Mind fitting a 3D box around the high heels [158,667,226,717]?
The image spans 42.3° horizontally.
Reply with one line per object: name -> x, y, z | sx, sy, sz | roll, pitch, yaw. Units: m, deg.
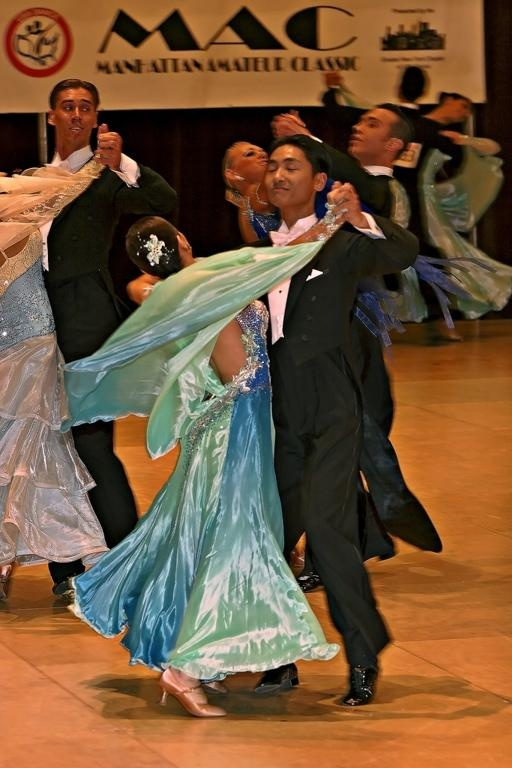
high heels -> -0.150, 0.731, 1.571 | 0.149, 0.124, 0.080 | -2, -8, 4

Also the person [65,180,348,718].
person -> -0.156, 0.179, 1.740 | 0.762, 1.260, 0.394 | -7, -10, 38
